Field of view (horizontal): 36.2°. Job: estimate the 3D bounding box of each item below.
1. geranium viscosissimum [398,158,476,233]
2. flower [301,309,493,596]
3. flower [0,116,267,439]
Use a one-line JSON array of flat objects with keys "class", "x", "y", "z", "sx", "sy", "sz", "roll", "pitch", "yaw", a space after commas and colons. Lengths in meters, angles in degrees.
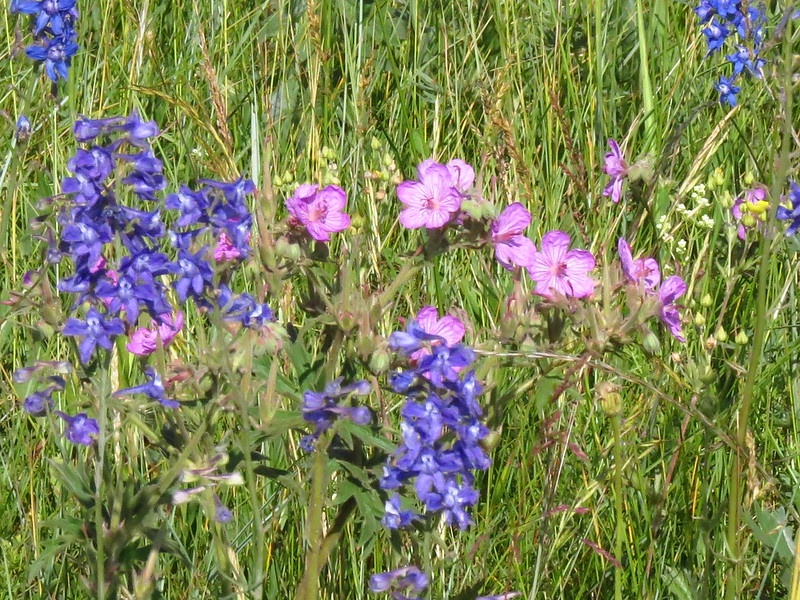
[{"class": "geranium viscosissimum", "x": 0.088, "y": -0.259, "z": 2.907, "sx": 0.190, "sy": 0.087, "sz": 0.169, "roll": -6, "pitch": 46, "yaw": -13}, {"class": "flower", "x": 0.007, "y": 0.475, "z": 2.828, "sx": 0.281, "sy": 0.309, "sz": 0.896, "roll": 10, "pitch": 82, "yaw": -19}, {"class": "flower", "x": -0.572, "y": -0.010, "z": 2.869, "sx": 0.557, "sy": 0.710, "sz": 0.523, "roll": 8, "pitch": 38, "yaw": 4}]
